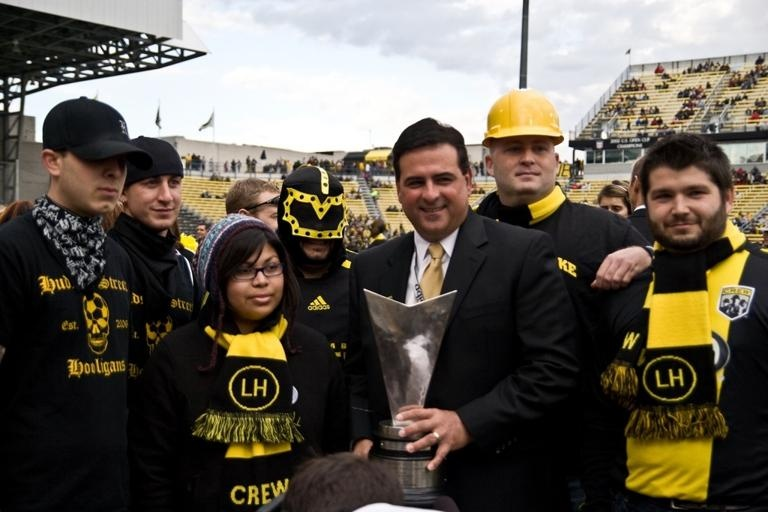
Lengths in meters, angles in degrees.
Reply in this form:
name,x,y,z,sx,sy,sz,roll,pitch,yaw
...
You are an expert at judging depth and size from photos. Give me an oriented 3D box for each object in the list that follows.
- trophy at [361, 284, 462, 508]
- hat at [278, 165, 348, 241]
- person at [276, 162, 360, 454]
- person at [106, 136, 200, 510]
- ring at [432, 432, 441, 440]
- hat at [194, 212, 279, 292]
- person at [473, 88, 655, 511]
name,x,y,z,sx,sy,sz,roll,pitch,yaw
trophy,0.183,0.796,4.781,0.544,1.130,0.545,1,0,1
hat,-0.611,-0.358,6.120,0.450,0.499,0.572,3,-8,-19
person,-0.483,0.284,6.134,0.562,1.719,0.498,0,-1,0
person,-1.444,0.320,5.983,0.892,2.797,0.840,2,-4,-14
ring,0.295,0.993,4.618,0.043,0.026,0.034,46,12,29
hat,-0.974,-0.044,5.134,0.439,0.477,0.215,4,14,-33
person,1.585,0.448,5.833,1.256,3.395,1.216,0,-2,-33
